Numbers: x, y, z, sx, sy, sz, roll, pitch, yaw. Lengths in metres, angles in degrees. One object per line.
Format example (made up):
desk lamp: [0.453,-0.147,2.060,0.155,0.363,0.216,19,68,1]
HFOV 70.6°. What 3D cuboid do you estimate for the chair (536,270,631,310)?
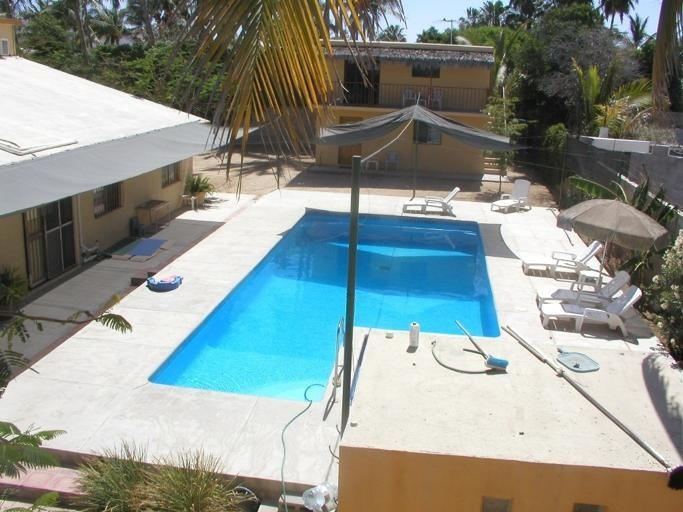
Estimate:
chair: [5.512,0.720,11.059,1.775,0.745,0.876,-1,11,29]

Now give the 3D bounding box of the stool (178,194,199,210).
stool: [-5.772,-2.040,18.276,0.637,0.547,0.584,7,12,14]

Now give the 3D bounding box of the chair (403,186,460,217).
chair: [3.414,-2.167,18.967,2.031,0.875,1.560,3,22,8]

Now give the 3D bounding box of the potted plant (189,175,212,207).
potted plant: [-5.618,-2.449,18.707,0.785,1.201,0.815,-9,-1,-30]

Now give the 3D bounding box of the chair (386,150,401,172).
chair: [2.896,-5.455,27.622,0.862,1.437,0.971,1,23,3]

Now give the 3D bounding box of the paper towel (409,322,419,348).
paper towel: [1.061,1.141,7.040,0.141,0.308,0.235,3,21,9]

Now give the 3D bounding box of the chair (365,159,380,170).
chair: [1.753,-5.143,27.401,0.588,0.635,0.627,1,19,3]

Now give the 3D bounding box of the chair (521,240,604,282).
chair: [6.039,0.237,13.164,2.057,0.993,1.068,1,17,7]
